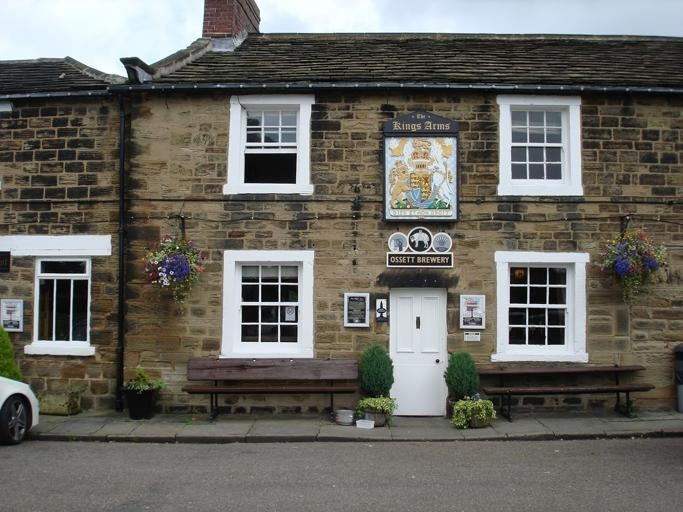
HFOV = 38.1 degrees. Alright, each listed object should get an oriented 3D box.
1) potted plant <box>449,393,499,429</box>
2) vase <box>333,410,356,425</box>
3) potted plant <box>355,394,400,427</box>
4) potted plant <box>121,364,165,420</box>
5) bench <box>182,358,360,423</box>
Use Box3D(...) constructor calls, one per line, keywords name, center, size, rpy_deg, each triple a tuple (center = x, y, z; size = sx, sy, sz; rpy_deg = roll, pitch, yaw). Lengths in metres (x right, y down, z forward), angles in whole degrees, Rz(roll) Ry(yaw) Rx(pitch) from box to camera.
Box3D(name="potted plant", center=(2.354, 2.874, 18.174), size=(0.781, 0.385, 0.614), rpy_deg=(0, -10, -4))
Box3D(name="vase", center=(0.058, 2.981, 18.189), size=(0.357, 0.183, 0.299), rpy_deg=(1, -3, -6))
Box3D(name="potted plant", center=(0.636, 2.852, 18.169), size=(0.729, 0.364, 0.604), rpy_deg=(1, -12, -3))
Box3D(name="potted plant", center=(-3.752, 2.615, 18.724), size=(0.718, 0.949, 0.534), rpy_deg=(2, -8, -10))
Box3D(name="bench", center=(-1.319, 2.489, 18.615), size=(3.235, 1.140, 0.673), rpy_deg=(1, -7, 0))
